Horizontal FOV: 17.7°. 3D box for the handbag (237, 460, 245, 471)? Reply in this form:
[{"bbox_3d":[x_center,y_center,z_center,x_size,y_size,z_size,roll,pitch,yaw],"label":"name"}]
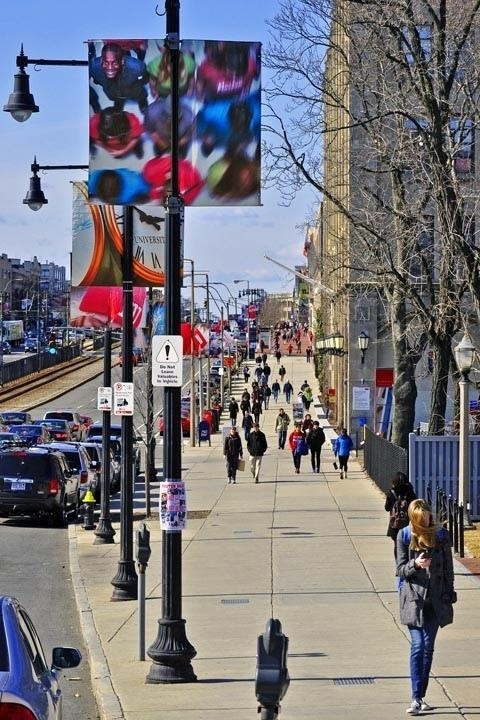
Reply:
[{"bbox_3d":[0.038,2.372,34.602,0.176,0.239,0.177,5,-6,-21],"label":"handbag"}]

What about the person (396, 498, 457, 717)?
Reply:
[{"bbox_3d":[1.434,1.924,11.943,0.450,1.663,0.390,1,-1,8],"label":"person"}]

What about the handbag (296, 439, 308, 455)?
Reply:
[{"bbox_3d":[1.531,2.176,38.333,0.234,0.402,0.181,3,12,0],"label":"handbag"}]

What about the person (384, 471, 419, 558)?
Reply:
[{"bbox_3d":[1.769,1.636,17.278,0.429,1.379,0.450,-1,0,19],"label":"person"}]
